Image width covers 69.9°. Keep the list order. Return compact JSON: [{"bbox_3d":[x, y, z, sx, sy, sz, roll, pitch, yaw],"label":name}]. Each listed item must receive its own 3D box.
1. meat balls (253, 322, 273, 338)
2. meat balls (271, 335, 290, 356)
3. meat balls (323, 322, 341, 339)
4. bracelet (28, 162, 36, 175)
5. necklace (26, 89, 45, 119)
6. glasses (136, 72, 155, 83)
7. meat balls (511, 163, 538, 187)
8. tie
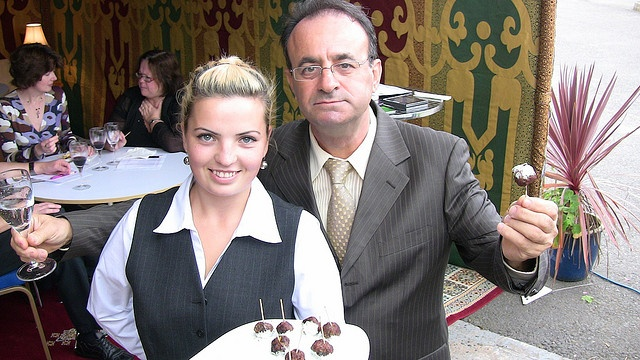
[{"bbox_3d":[-0.296,0.788,2.412,0.079,0.080,0.044,21,3,-4],"label":"meat balls"},{"bbox_3d":[-0.207,0.851,2.373,0.093,0.075,0.052,0,23,-3],"label":"meat balls"},{"bbox_3d":[0.057,0.778,2.387,0.073,0.075,0.043,24,-1,-1],"label":"meat balls"},{"bbox_3d":[-2.865,-0.119,4.558,0.071,0.098,0.038,-1,-6,-5],"label":"bracelet"},{"bbox_3d":[-3.324,-0.872,5.338,0.109,0.311,0.233,12,19,40],"label":"necklace"},{"bbox_3d":[-1.974,-1.143,5.232,0.131,0.042,0.140,19,1,22],"label":"glasses"},{"bbox_3d":[1.128,-0.029,2.535,0.114,0.117,0.135,1,1,19],"label":"meat balls"},{"bbox_3d":[0.123,0.190,2.852,0.225,0.593,0.148,-10,-11,28],"label":"tie"}]
